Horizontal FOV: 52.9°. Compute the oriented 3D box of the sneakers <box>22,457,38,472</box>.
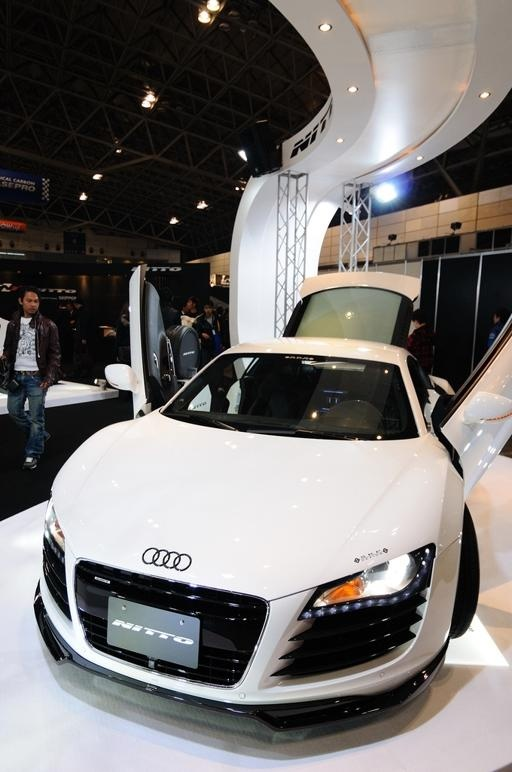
[{"bbox_3d":[-1.792,0.614,4.058,0.066,0.051,0.118,1,3,-9],"label":"sneakers"}]
